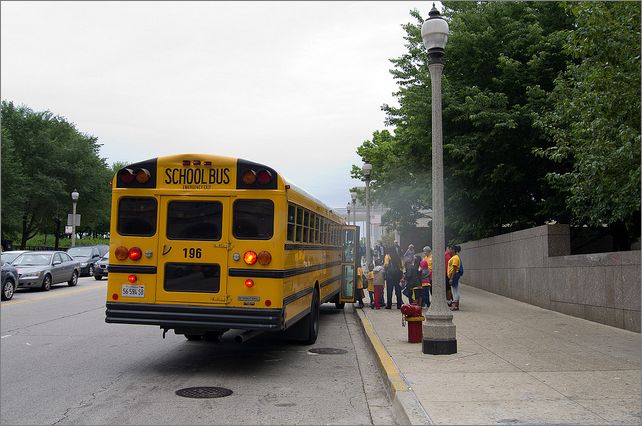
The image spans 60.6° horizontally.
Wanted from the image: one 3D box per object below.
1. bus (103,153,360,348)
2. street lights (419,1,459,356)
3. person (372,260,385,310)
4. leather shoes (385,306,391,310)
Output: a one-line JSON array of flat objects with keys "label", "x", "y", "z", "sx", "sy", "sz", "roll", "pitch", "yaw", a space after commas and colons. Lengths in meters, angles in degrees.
[{"label": "bus", "x": -1.619, "y": 1.132, "z": 13.315, "sx": 3.407, "sy": 4.330, "sz": 6.375, "roll": -4, "pitch": -5, "yaw": 23}, {"label": "street lights", "x": 2.578, "y": -0.805, "z": 12.281, "sx": 0.760, "sy": 7.801, "sz": 0.735, "roll": -3, "pitch": -4, "yaw": 23}, {"label": "person", "x": 2.018, "y": 2.477, "z": 19.118, "sx": 0.435, "sy": 1.711, "sz": 1.079, "roll": -2, "pitch": -4, "yaw": 6}, {"label": "leather shoes", "x": 2.339, "y": 3.282, "z": 19.022, "sx": 0.230, "sy": 0.100, "sz": 0.264, "roll": -1, "pitch": -5, "yaw": -1}]
